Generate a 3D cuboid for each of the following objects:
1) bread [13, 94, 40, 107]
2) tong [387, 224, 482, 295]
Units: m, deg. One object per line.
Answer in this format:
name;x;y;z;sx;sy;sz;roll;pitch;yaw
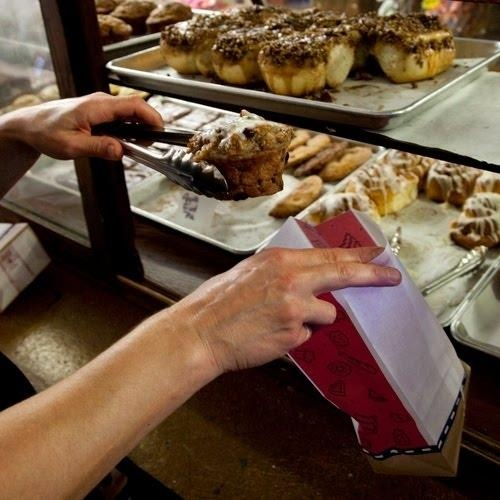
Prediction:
bread;-0.756;-0.498;1.576;0.071;0.018;0.053;-9;10;32
tong;0.564;0.033;1.429;0.326;0.144;0.201;12;28;38
